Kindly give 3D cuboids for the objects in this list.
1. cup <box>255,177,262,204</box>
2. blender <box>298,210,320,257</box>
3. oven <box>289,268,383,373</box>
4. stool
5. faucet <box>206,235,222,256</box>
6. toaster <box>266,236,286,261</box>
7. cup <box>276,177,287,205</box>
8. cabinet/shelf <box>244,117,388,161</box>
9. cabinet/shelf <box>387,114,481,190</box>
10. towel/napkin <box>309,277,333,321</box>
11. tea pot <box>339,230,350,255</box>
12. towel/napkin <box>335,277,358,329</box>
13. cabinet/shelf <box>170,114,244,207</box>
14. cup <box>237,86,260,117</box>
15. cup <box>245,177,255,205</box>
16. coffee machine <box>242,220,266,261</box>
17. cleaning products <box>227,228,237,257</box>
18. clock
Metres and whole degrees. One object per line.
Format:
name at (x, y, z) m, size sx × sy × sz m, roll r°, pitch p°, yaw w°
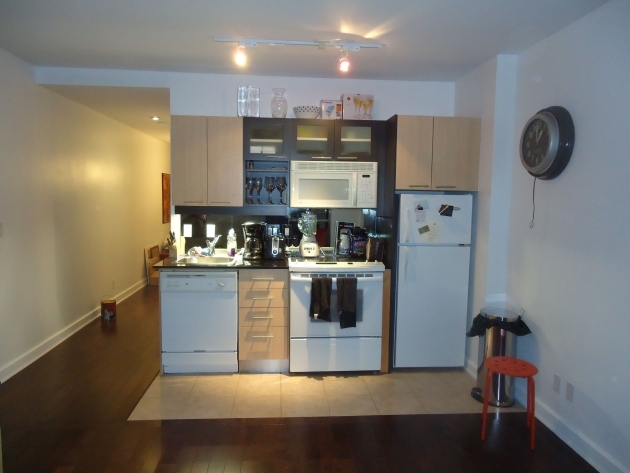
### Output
cup at (-0.620, -0.514, 5.712) m, size 0.077 × 0.286 × 0.049 m, roll 1°, pitch 5°, yaw -10°
blender at (-0.066, -0.042, 5.748) m, size 0.251 × 0.487 × 0.412 m, roll 2°, pitch 5°, yaw -2°
oven at (0.203, 0.756, 5.581) m, size 0.950 × 1.235 × 0.821 m, roll 0°, pitch 16°, yaw -2°
stool at (1.697, 1.426, 4.492) m, size 0.566 × 0.652 × 0.546 m, roll -5°, pitch 9°, yaw -39°
faucet at (-1.141, 0.065, 5.678) m, size 0.162 × 0.232 × 0.051 m, roll -5°, pitch 28°, yaw -42°
toaster at (-0.433, 0.127, 5.688) m, size 0.215 × 0.223 × 0.225 m, roll 1°, pitch 7°, yaw 0°
cup at (-0.371, -0.514, 5.703) m, size 0.120 × 0.287 × 0.064 m, roll 2°, pitch 5°, yaw -3°
cabinet/shelf at (-0.032, -1.024, 5.710) m, size 1.421 × 0.487 × 0.434 m, roll 1°, pitch -4°, yaw -3°
cabinet/shelf at (1.253, -0.857, 5.302) m, size 0.692 × 0.650 × 0.282 m, roll 0°, pitch 1°, yaw 0°
towel/napkin at (0.060, 0.618, 5.195) m, size 0.215 × 0.430 × 0.066 m, roll 2°, pitch 5°, yaw 2°
tea pot at (0.327, 0.055, 5.731) m, size 0.120 × 0.279 × 0.075 m, roll 2°, pitch 5°, yaw 5°
towel/napkin at (0.326, 0.653, 5.236) m, size 0.192 × 0.497 × 0.083 m, roll -1°, pitch -19°, yaw 3°
cabinet/shelf at (-1.217, -0.907, 5.681) m, size 0.797 × 1.014 × 0.545 m, roll -6°, pitch 34°, yaw -20°
cup at (-0.716, -1.448, 5.596) m, size 0.254 × 0.339 × 0.265 m, roll 2°, pitch 5°, yaw 0°
cup at (-0.710, -0.501, 5.650) m, size 0.134 × 0.294 × 0.086 m, roll -2°, pitch 6°, yaw -36°
coffee machine at (-0.665, 0.049, 5.596) m, size 0.249 × 0.407 × 0.366 m, roll 1°, pitch 7°, yaw 1°
cleaning products at (-0.938, 0.051, 5.822) m, size 0.116 × 0.295 × 0.334 m, roll 1°, pitch 5°, yaw -10°
clock at (2.040, -0.820, 4.559) m, size 0.153 × 0.630 × 0.544 m, roll 1°, pitch 5°, yaw -14°
